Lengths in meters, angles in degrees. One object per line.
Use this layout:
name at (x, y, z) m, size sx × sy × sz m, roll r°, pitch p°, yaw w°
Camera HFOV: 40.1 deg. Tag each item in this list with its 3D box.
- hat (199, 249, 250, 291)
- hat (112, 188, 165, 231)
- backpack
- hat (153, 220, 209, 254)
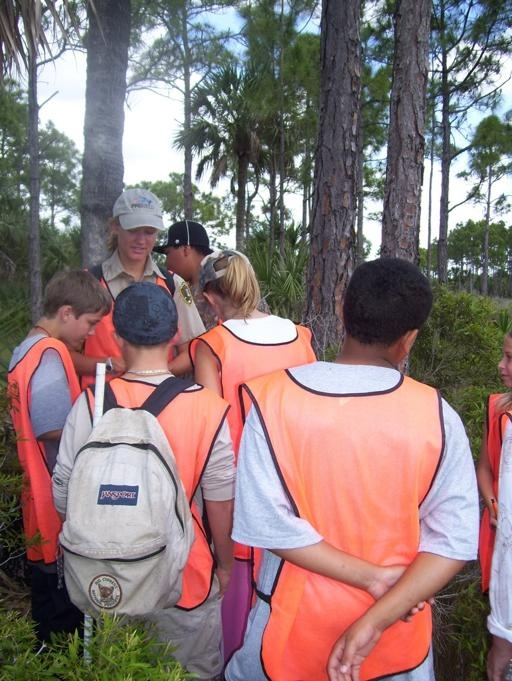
hat at (-0.167, -0.264, 2.796) m, size 0.195 × 0.146 × 0.313 m, roll 1°, pitch -3°, yaw -26°
hat at (-0.626, -0.697, 3.720) m, size 0.274 × 0.214 × 0.395 m, roll -3°, pitch 16°, yaw -26°
backpack at (-0.365, 0.507, 2.021) m, size 0.368 × 0.571 × 0.301 m, roll 3°, pitch 5°, yaw -5°
hat at (-0.413, -0.584, 4.019) m, size 0.256 × 0.142 × 0.166 m, roll 4°, pitch 7°, yaw 0°
